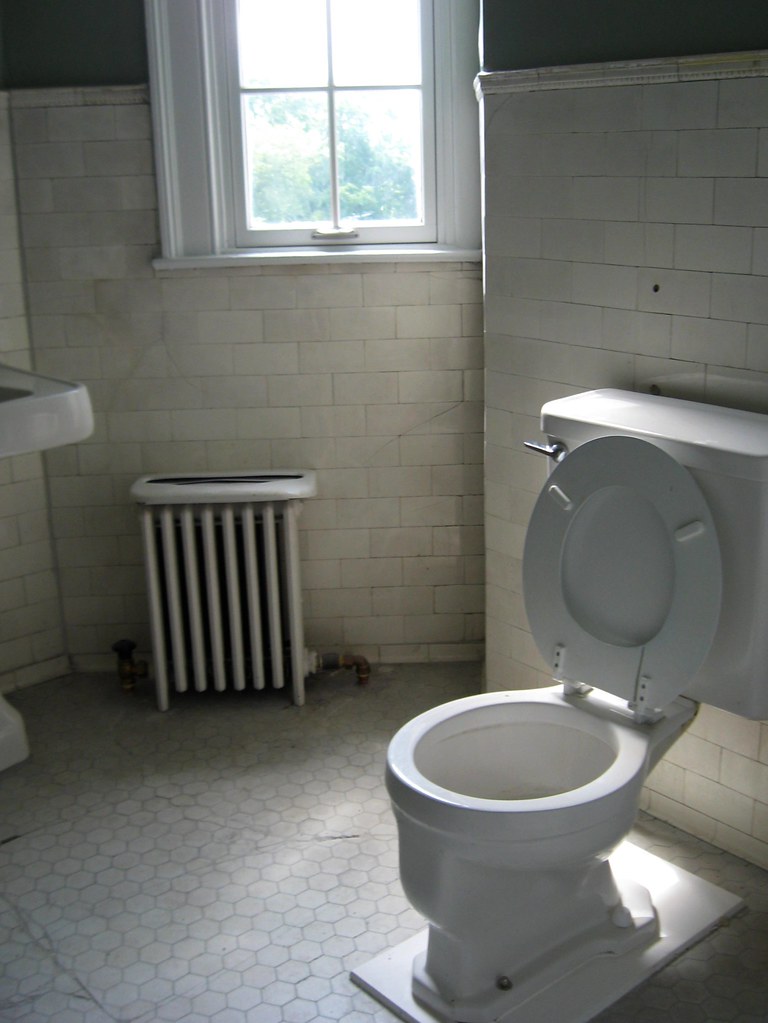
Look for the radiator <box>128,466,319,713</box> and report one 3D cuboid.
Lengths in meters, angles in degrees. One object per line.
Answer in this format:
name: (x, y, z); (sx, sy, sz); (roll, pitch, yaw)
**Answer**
radiator: (-0.393, 0.197, 2.400); (0.550, 0.531, 0.376); (-3, 4, 4)
